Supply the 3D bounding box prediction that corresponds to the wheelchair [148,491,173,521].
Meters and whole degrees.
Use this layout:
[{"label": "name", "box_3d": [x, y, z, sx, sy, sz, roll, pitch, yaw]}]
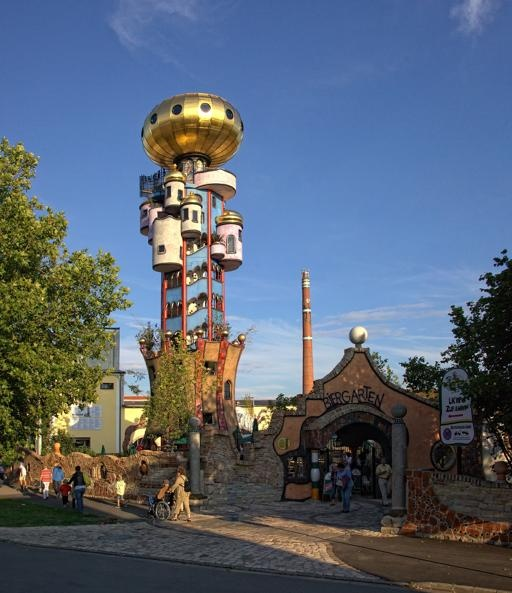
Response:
[{"label": "wheelchair", "box_3d": [-2.720, 5.810, 24.418, 0.780, 0.804, 0.589, 3, -15, 8]}]
